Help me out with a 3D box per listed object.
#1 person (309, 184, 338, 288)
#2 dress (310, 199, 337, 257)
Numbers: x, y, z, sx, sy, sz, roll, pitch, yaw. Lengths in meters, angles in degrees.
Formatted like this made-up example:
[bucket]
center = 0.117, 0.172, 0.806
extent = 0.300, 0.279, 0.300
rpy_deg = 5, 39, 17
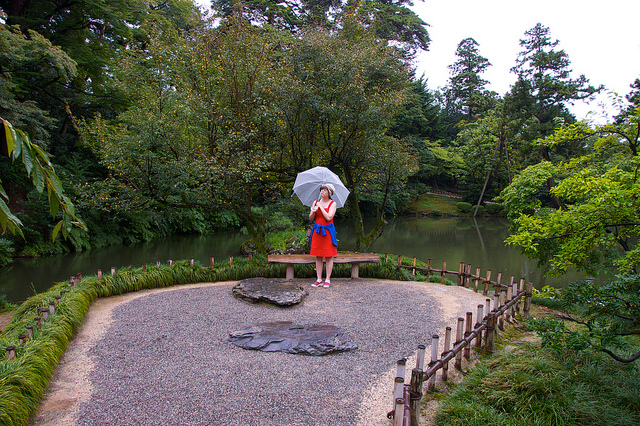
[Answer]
[person]
center = 0.069, 0.612, 11.032
extent = 0.709, 2.759, 1.061
rpy_deg = 3, 3, 2
[dress]
center = 0.098, 0.422, 10.678
extent = 0.649, 1.483, 0.324
rpy_deg = 3, 3, -4
